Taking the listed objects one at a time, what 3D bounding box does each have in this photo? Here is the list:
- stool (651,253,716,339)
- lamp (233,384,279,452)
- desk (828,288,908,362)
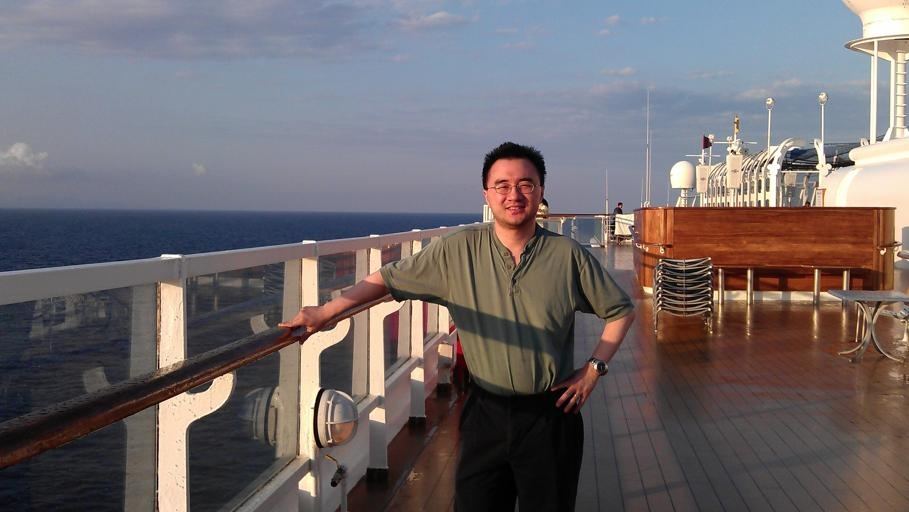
[{"bbox_3d":[3.635,0.495,10.950,0.864,0.851,0.875,2,10,16],"label":"stool"},{"bbox_3d":[-1.369,1.119,4.853,0.383,0.367,0.377,-2,-23,-2],"label":"lamp"},{"bbox_3d":[5.489,0.796,9.053,1.235,1.080,1.209,2,-4,25],"label":"desk"}]
